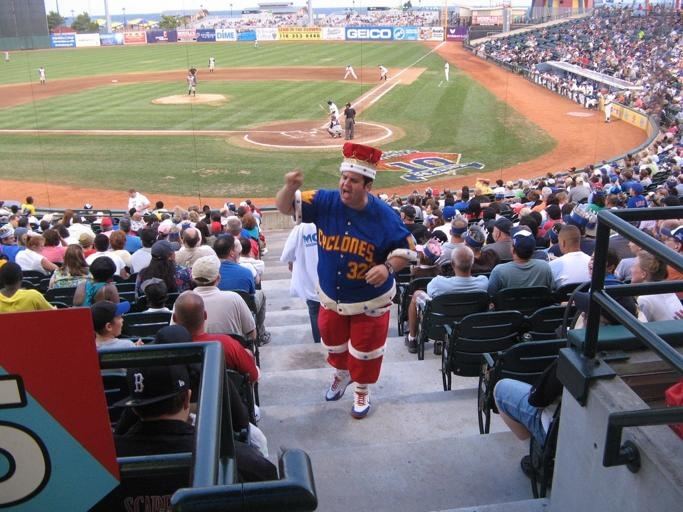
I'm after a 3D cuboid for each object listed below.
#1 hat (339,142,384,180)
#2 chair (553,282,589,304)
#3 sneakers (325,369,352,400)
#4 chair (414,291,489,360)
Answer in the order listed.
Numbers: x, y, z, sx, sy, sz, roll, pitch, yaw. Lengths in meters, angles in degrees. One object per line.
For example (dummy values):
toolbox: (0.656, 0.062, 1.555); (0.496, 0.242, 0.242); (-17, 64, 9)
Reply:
hat: (0.169, -0.840, 5.022); (0.349, 0.275, 0.289); (9, 18, -20)
chair: (1.933, 0.312, 5.004); (0.212, 0.295, 0.195); (0, 48, 4)
sneakers: (-0.024, 1.190, 5.416); (0.098, 0.298, 0.185); (37, 21, 21)
chair: (1.050, 0.618, 5.937); (0.579, 0.776, 0.573); (-1, 40, -2)
